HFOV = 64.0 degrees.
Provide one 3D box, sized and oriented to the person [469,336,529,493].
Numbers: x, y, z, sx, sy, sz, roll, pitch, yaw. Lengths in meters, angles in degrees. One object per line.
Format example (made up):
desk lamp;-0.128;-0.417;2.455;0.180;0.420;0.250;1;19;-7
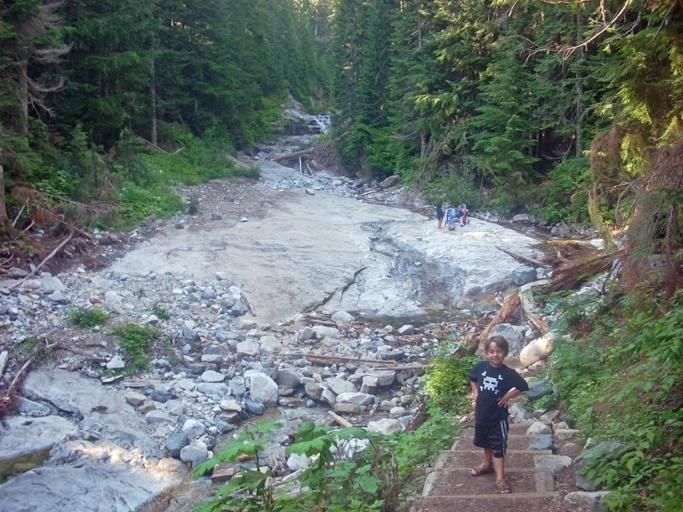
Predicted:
person;2.203;2.144;7.720;0.738;1.792;1.089;-2;24;12

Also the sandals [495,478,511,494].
sandals;2.236;3.154;7.543;0.175;0.120;0.249;-7;23;-1

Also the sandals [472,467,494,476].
sandals;2.019;3.099;7.846;0.252;0.102;0.120;4;7;10

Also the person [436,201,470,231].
person;5.503;-2.036;26.414;0.811;1.381;2.599;15;26;38
